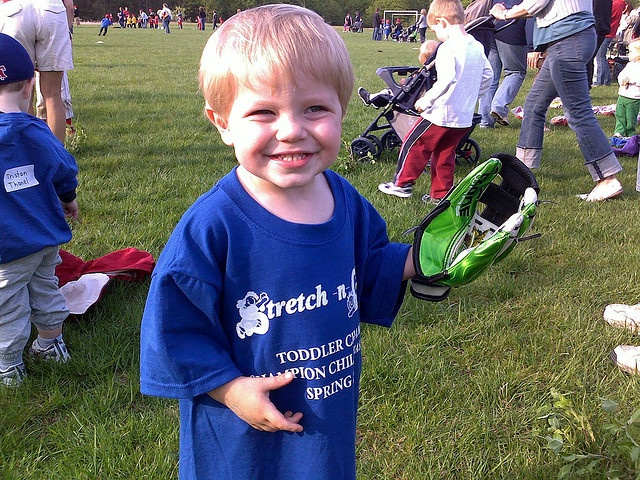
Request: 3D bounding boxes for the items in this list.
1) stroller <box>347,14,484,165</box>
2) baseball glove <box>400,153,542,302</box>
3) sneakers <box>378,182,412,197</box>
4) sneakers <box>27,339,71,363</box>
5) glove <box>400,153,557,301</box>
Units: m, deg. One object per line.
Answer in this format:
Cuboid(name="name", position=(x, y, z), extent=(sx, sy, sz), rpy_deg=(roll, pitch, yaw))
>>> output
Cuboid(name="stroller", position=(0.978, -1.578, 7.380), extent=(1.233, 1.590, 0.975), rpy_deg=(7, 10, 16))
Cuboid(name="baseball glove", position=(0.727, -0.080, 3.100), extent=(0.461, 0.376, 0.759), rpy_deg=(32, 73, 35))
Cuboid(name="sneakers", position=(0.719, -0.503, 6.491), extent=(0.312, 0.154, 0.131), rpy_deg=(19, 10, 15))
Cuboid(name="sneakers", position=(-1.671, 0.690, 4.178), extent=(0.275, 0.135, 0.117), rpy_deg=(10, 9, 38))
Cuboid(name="glove", position=(0.722, -0.090, 3.107), extent=(0.751, 0.294, 0.518), rpy_deg=(-43, 51, -17))
